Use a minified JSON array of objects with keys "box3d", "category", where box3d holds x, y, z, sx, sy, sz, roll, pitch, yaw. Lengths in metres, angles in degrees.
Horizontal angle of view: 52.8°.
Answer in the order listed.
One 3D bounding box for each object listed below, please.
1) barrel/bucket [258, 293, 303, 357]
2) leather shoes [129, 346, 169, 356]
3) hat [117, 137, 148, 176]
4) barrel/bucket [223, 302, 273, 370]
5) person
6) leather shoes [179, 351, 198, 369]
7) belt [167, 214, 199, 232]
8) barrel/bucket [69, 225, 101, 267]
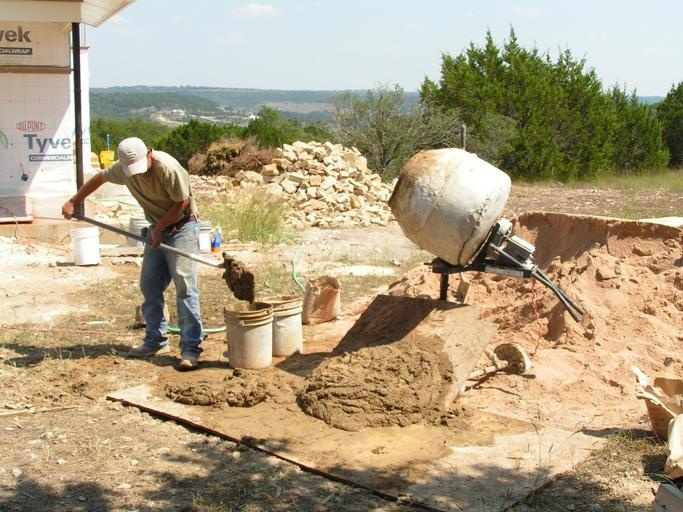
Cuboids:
[{"box3d":[-0.528,0.754,7.639,0.700,0.589,0.630,-1,4,3],"category":"barrel/bucket"},{"box3d":[-2.122,1.009,7.451,0.382,0.132,0.127,2,4,-22],"category":"leather shoes"},{"box3d":[-2.104,-0.984,6.823,0.289,0.388,0.272,1,7,-17],"category":"hat"},{"box3d":[-0.940,0.827,7.164,0.708,0.612,0.646,0,4,0],"category":"barrel/bucket"},{"box3d":[-2.054,-0.050,7.178,1.181,2.327,0.842,2,7,-11],"category":"person"},{"box3d":[-1.602,1.072,7.125,0.189,0.166,0.277,2,6,-6],"category":"leather shoes"},{"box3d":[-1.674,-0.350,7.137,0.233,0.107,0.171,-24,3,28],"category":"belt"},{"box3d":[-3.979,-0.160,11.022,0.652,0.601,0.603,0,3,0],"category":"barrel/bucket"}]
